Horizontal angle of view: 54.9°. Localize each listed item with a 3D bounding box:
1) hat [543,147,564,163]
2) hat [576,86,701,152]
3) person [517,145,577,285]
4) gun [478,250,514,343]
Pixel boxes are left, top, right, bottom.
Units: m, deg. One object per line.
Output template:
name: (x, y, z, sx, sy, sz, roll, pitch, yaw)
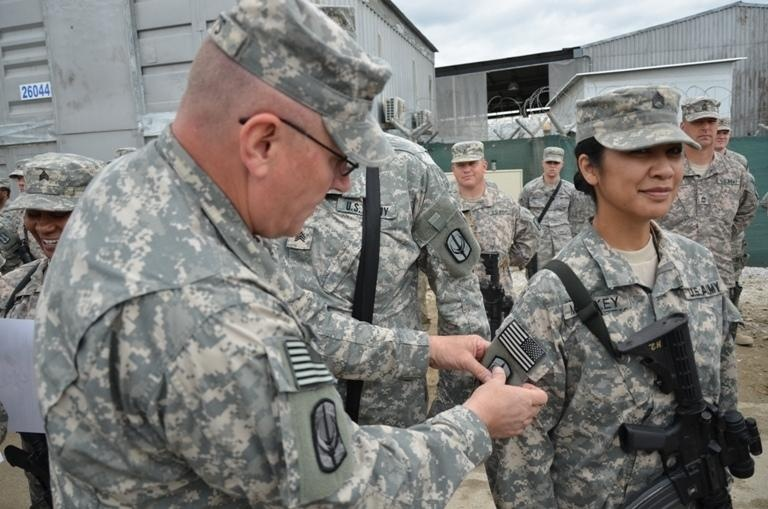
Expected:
hat: (2.186, -1.284, 9.626, 0.246, 0.201, 0.365, 3, 2, 15)
hat: (1.327, -0.730, 3.986, 0.363, 0.217, 0.509, -9, 16, -40)
person: (2.141, -0.298, 9.633, 0.750, 2.107, 0.554, -1, 27, 14)
gun: (1.074, 0.368, 6.873, 0.258, 1.070, 0.463, -2, 5, 10)
